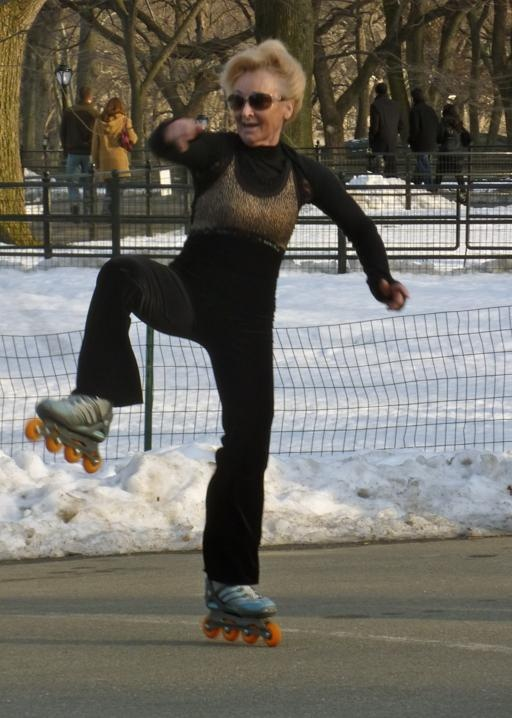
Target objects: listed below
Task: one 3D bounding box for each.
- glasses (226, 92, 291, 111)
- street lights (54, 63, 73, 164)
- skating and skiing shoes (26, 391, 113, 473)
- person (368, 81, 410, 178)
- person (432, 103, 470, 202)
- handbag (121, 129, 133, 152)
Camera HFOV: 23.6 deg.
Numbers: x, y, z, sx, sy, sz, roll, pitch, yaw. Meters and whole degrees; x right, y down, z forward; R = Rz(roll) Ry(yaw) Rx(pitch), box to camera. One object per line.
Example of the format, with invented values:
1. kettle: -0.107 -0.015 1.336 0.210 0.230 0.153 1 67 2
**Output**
1. glasses: 0.001 -0.792 3.781 0.187 0.063 0.075 0 1 2
2. street lights: -4.320 -5.549 27.564 0.433 2.065 0.423 4 13 6
3. skating and skiing shoes: -0.493 0.167 3.400 0.216 0.210 0.372 -6 15 -24
4. person: 2.377 -4.166 22.988 0.618 1.951 0.498 -7 19 -19
5. person: 3.540 -3.785 22.023 0.552 1.711 0.570 2 34 13
6. handbag: -1.951 -3.285 18.369 0.103 0.316 0.263 -4 -14 6
